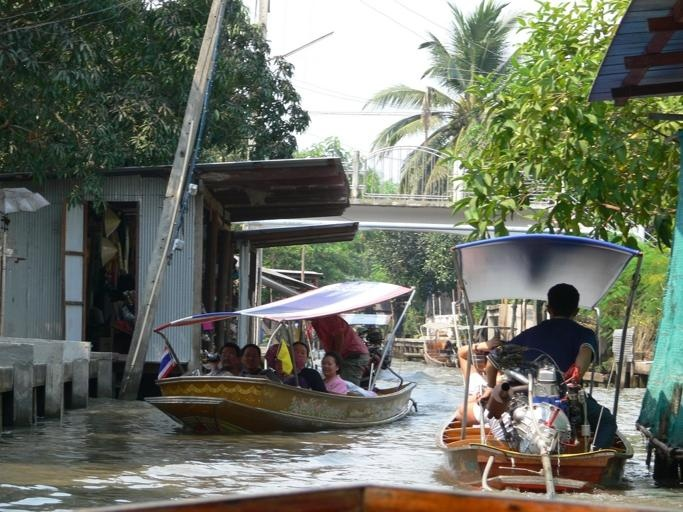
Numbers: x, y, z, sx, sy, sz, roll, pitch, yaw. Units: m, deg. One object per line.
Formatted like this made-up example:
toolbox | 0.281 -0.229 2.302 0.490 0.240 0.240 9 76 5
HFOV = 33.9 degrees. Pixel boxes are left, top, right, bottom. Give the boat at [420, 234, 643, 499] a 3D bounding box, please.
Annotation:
boat | 2.244 1.491 14.000 1.718 1.993 4.041 1 -5 4

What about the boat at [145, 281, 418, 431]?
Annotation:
boat | -0.598 1.451 17.045 1.601 2.480 4.260 -1 -7 38

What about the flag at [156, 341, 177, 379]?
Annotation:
flag | -2.857 1.705 18.360 0.535 0.093 1.215 -32 7 -4

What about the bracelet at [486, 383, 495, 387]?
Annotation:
bracelet | 1.751 1.523 13.209 0.061 0.041 0.060 1 -1 18
